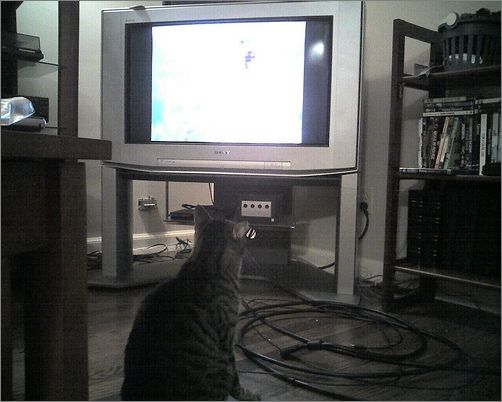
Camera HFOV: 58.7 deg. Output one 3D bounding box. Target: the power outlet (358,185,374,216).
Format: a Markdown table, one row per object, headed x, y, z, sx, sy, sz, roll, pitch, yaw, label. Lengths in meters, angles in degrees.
| x | y | z | sx | sy | sz | roll | pitch | yaw | label |
| --- | --- | --- | --- | --- | --- | --- | --- | --- | --- |
| 0.327 | 0.001 | 1.260 | 0.040 | 0.076 | 0.076 | 3 | 9 | 35 | power outlet |
